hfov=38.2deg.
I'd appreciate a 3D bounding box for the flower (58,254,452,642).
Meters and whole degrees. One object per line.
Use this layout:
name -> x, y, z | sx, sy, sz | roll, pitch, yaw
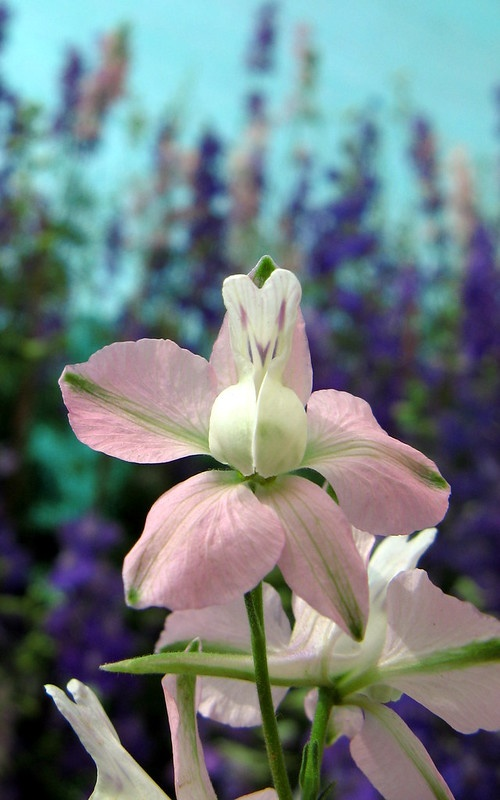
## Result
flower -> 0.001, 0.013, 0.344 | 0.152, 0.140, 0.166 | -9, 23, -23
